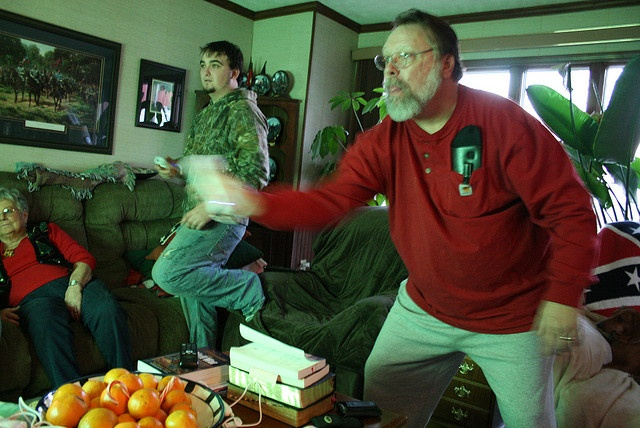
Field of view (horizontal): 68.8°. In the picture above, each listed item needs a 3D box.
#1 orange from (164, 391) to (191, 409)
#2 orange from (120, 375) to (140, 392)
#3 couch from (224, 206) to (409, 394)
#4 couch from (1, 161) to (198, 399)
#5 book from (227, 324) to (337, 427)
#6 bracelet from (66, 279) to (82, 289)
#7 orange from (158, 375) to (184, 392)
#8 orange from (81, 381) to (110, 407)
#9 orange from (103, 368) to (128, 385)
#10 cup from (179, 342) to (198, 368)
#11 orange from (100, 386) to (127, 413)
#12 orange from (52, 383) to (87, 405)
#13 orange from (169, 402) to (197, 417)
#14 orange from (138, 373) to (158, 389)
[{"bbox_3d":[-0.493,0.636,1.626,0.068,0.076,0.062,27,-22,-11],"label":"orange"},{"bbox_3d":[-0.653,0.582,1.623,0.058,0.053,0.060,2,-22,45],"label":"orange"},{"bbox_3d":[0.160,0.645,3.374,1.323,0.987,1.249,-5,9,-32],"label":"couch"},{"bbox_3d":[-1.394,0.413,2.901,1.412,0.894,0.747,-6,-5,-31],"label":"couch"},{"bbox_3d":[-0.133,0.599,1.819,0.342,0.201,0.339,15,18,30],"label":"book"},{"bbox_3d":[-1.522,0.427,2.900,0.046,0.043,0.044,0,-10,-6],"label":"bracelet"},{"bbox_3d":[-0.535,0.602,1.673,0.056,0.052,0.054,6,-9,-22],"label":"orange"},{"bbox_3d":[-0.775,0.622,1.632,0.073,0.067,0.070,4,4,-2],"label":"orange"},{"bbox_3d":[-0.741,0.578,1.704,0.067,0.064,0.066,-9,-23,-18],"label":"orange"},{"bbox_3d":[-0.534,0.593,1.958,0.070,0.086,0.093,2,2,-10],"label":"cup"},{"bbox_3d":[-0.688,0.623,1.566,0.063,0.063,0.064,40,15,18],"label":"orange"},{"bbox_3d":[-0.834,0.604,1.577,0.073,0.069,0.068,4,-23,9],"label":"orange"},{"bbox_3d":[-0.460,0.650,1.574,0.055,0.051,0.051,5,-5,10],"label":"orange"},{"bbox_3d":[-0.605,0.589,1.656,0.049,0.043,0.047,3,4,-4],"label":"orange"}]
